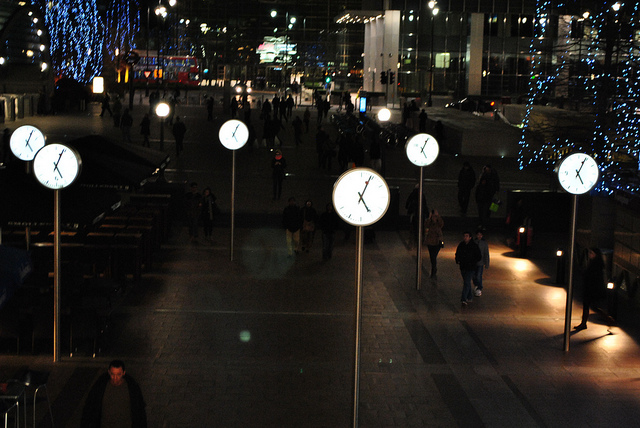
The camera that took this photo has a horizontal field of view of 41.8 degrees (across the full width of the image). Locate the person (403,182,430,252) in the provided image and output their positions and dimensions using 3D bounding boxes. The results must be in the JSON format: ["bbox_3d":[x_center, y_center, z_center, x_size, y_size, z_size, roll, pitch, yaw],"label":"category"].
[{"bbox_3d":[3.303,0.037,28.409,0.704,2.363,0.696,5,16,0],"label":"person"}]

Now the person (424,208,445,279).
[{"bbox_3d":[3.582,0.838,26.374,0.586,2.217,1.125,3,13,7],"label":"person"}]

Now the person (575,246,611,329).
[{"bbox_3d":[7.305,1.990,22.537,0.656,2.220,0.532,2,12,3],"label":"person"}]

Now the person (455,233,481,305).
[{"bbox_3d":[4.252,1.509,24.063,0.693,2.108,0.619,4,13,10],"label":"person"}]

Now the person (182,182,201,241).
[{"bbox_3d":[-4.476,-0.170,29.615,0.574,2.084,1.105,-1,13,-9],"label":"person"}]

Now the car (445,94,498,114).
[{"bbox_3d":[14.058,-10.415,77.869,5.156,2.661,3.526,4,13,9],"label":"car"}]

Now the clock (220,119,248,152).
[{"bbox_3d":[-2.770,-2.654,27.983,0.963,1.199,1.438,4,14,9],"label":"clock"}]

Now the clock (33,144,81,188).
[{"bbox_3d":[-6.201,-1.155,19.775,0.945,1.154,0.315,1,1,0],"label":"clock"}]

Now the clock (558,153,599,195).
[{"bbox_3d":[6.650,-1.012,21.586,0.991,1.198,1.109,1,-20,21],"label":"clock"}]
